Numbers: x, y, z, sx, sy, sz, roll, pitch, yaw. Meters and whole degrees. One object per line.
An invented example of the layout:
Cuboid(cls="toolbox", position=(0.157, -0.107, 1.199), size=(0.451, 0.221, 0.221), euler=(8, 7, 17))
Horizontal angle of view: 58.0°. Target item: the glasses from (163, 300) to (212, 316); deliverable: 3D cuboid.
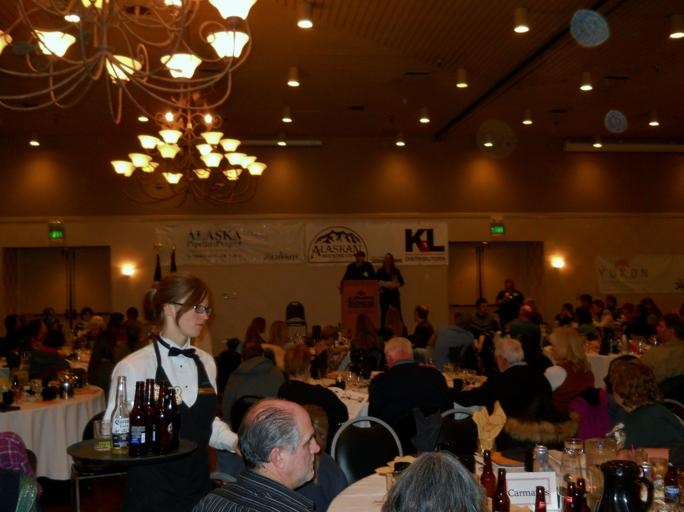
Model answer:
Cuboid(cls="glasses", position=(-0.853, 0.307, 3.536), size=(0.262, 0.066, 0.114), euler=(8, -13, -34))

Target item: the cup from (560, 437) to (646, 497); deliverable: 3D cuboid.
Cuboid(cls="cup", position=(1.401, 1.122, 3.354), size=(0.366, 0.424, 0.232), euler=(-5, -5, 21))

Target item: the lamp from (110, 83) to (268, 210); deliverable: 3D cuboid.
Cuboid(cls="lamp", position=(-2.776, -1.943, 10.829), size=(1.651, 2.576, 1.698), euler=(-1, -14, 6))

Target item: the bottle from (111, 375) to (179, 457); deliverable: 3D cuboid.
Cuboid(cls="bottle", position=(-1.046, 0.852, 3.299), size=(0.345, 0.389, 0.320), euler=(4, -10, -21))
